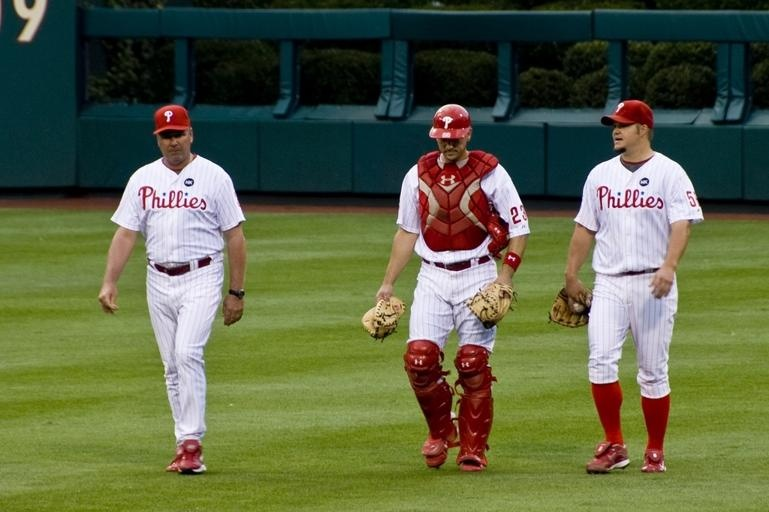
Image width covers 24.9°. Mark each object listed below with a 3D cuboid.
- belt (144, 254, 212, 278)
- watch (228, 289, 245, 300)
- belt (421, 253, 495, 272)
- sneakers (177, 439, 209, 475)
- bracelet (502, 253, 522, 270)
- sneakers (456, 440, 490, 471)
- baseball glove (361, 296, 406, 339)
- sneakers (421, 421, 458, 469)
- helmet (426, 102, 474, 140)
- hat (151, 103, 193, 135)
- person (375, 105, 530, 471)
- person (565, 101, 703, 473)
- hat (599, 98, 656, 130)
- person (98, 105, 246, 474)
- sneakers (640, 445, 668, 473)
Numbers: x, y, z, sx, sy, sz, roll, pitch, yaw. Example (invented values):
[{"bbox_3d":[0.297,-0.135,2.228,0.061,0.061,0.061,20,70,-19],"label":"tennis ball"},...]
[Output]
[{"bbox_3d":[-1.996,0.109,17.105,0.612,0.177,0.132,-3,13,-5],"label":"belt"},{"bbox_3d":[-1.473,0.386,17.164,0.111,0.059,0.109,-2,-7,30],"label":"watch"},{"bbox_3d":[0.699,0.077,17.169,0.674,0.141,0.133,-1,13,4],"label":"belt"},{"bbox_3d":[-1.874,1.954,16.948,0.289,0.335,0.196,-5,13,-13],"label":"sneakers"},{"bbox_3d":[1.245,0.060,17.230,0.184,0.134,0.176,29,-6,0],"label":"bracelet"},{"bbox_3d":[0.849,1.981,17.084,0.296,0.253,0.193,-1,13,3],"label":"sneakers"},{"bbox_3d":[-0.036,0.616,17.338,0.403,0.434,0.119,40,-8,-11],"label":"baseball glove"},{"bbox_3d":[0.582,1.903,17.239,0.225,0.250,0.637,4,15,17],"label":"sneakers"},{"bbox_3d":[0.633,-1.314,17.187,0.378,0.335,0.269,-2,13,0],"label":"helmet"},{"bbox_3d":[-2.090,-1.360,17.273,0.312,0.218,0.415,-2,4,5],"label":"hat"},{"bbox_3d":[0.703,0.302,17.154,1.330,3.489,1.043,-2,13,1],"label":"person"},{"bbox_3d":[2.419,0.297,16.998,1.263,3.541,1.073,0,13,9],"label":"person"},{"bbox_3d":[2.389,-1.383,17.094,0.449,0.200,0.294,3,3,-6],"label":"hat"},{"bbox_3d":[-2.085,0.304,17.122,1.219,3.491,1.043,3,14,22],"label":"person"},{"bbox_3d":[2.605,1.988,17.002,0.233,0.221,0.287,0,12,7],"label":"sneakers"}]
